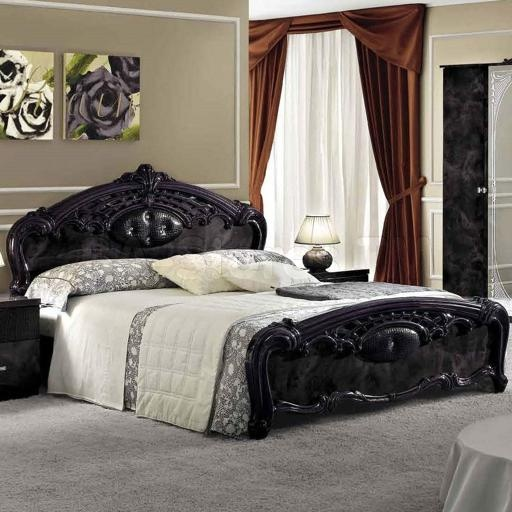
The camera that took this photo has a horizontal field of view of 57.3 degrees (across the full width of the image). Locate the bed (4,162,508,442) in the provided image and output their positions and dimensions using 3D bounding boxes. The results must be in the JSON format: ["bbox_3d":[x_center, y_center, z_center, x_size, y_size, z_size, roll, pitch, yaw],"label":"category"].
[{"bbox_3d":[-0.084,0.055,3.123,2.769,1.683,1.688,-3,-5,35],"label":"bed"}]

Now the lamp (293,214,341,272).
[{"bbox_3d":[0.555,-0.119,4.637,0.535,0.576,0.510,0,-1,-4],"label":"lamp"}]

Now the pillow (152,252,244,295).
[{"bbox_3d":[-0.447,0.098,3.358,0.358,0.110,0.396,29,21,39],"label":"pillow"}]
